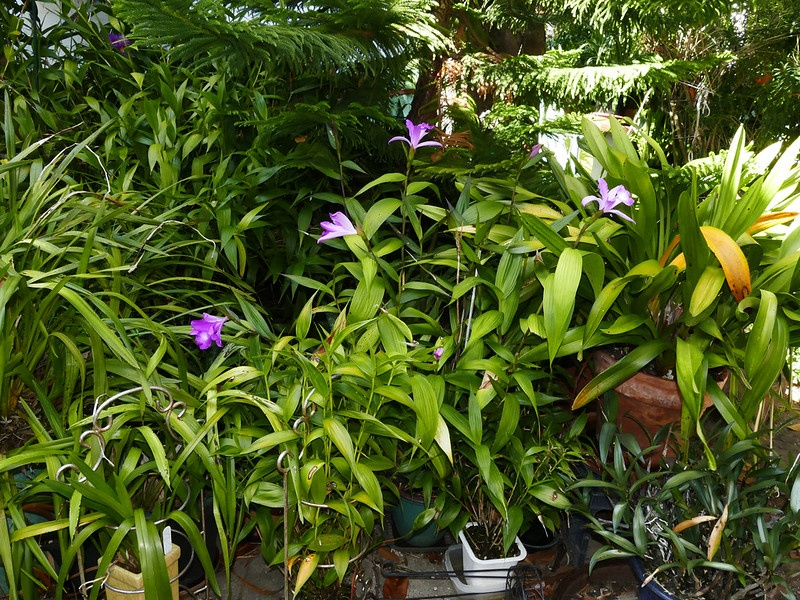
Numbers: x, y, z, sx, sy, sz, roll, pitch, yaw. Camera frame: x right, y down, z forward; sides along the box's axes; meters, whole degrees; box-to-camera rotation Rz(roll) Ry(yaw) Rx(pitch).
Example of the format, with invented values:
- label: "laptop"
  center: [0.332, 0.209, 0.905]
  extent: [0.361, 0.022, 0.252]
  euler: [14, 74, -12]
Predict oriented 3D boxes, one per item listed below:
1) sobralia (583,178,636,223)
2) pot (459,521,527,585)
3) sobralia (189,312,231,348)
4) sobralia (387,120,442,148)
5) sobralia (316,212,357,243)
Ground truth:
- label: "sobralia"
  center: [0.531, -0.255, 1.645]
  extent: [0.111, 0.118, 0.323]
  euler: [11, 20, 16]
- label: "pot"
  center: [0.242, 0.686, 1.677]
  extent: [0.213, 0.177, 0.143]
  euler: [5, 9, 2]
- label: "sobralia"
  center: [-0.462, 0.077, 1.554]
  extent: [0.081, 0.109, 0.098]
  euler: [-5, 21, -29]
- label: "sobralia"
  center: [0.036, -0.476, 1.869]
  extent: [0.129, 0.077, 0.142]
  euler: [3, 14, 0]
- label: "sobralia"
  center: [-0.149, -0.182, 1.584]
  extent: [0.096, 0.064, 0.110]
  euler: [4, 19, -8]
